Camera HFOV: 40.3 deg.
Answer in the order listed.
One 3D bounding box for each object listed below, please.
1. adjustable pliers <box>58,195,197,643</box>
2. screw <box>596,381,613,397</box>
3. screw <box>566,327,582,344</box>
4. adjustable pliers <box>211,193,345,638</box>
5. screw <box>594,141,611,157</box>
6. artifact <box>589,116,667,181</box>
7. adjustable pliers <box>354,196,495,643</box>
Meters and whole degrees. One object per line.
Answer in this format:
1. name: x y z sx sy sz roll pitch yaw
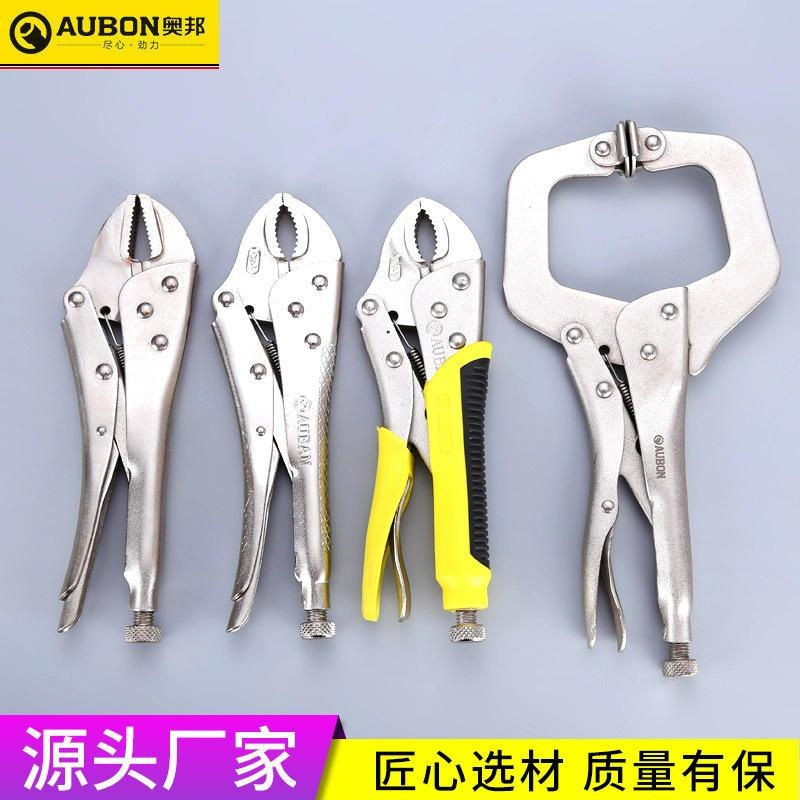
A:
1. adjustable pliers: -0.399 0.006 1.573 0.185 0.652 0.157 4 -4 -19
2. screw: 0.291 -0.016 1.577 0.019 0.023 0.006 0 -13 15
3. screw: 0.254 -0.097 1.600 0.021 0.025 0.007 2 -4 5
4. adjustable pliers: -0.183 0.001 1.570 0.191 0.645 0.164 3 -4 -9
5. screw: 0.310 -0.389 1.676 0.022 0.025 0.008 2 -4 0
6. artifact: 0.345 -0.377 1.673 0.102 0.092 0.051 -3 -1 3
7. adjustable pliers: 0.028 0.005 1.552 0.193 0.640 0.195 3 -4 -3
